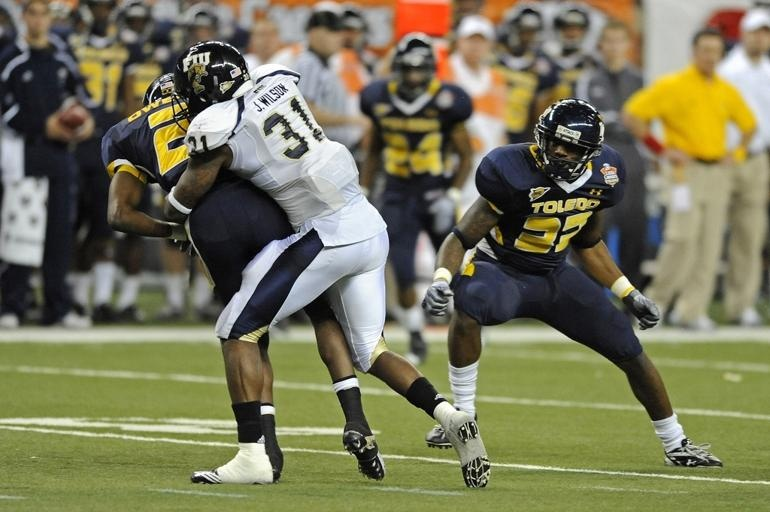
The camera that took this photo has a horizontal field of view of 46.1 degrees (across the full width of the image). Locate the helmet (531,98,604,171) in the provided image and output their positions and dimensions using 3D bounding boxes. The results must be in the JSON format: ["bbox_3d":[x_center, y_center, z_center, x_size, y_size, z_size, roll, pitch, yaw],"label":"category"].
[{"bbox_3d":[0.944,-0.604,4.668,0.340,0.429,0.232,2,2,7],"label":"helmet"}]

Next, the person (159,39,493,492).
[{"bbox_3d":[-0.465,0.030,4.477,1.204,2.099,0.378,1,2,-12],"label":"person"}]

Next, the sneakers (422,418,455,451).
[{"bbox_3d":[0.288,1.004,5.072,0.107,0.161,0.306,2,0,-2],"label":"sneakers"}]

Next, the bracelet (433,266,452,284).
[{"bbox_3d":[0.297,0.100,4.703,0.080,0.083,0.085,10,22,10],"label":"bracelet"}]

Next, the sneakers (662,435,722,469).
[{"bbox_3d":[1.629,1.049,4.843,0.314,0.139,0.128,1,2,10],"label":"sneakers"}]

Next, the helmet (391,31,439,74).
[{"bbox_3d":[0.250,-1.734,8.165,0.364,0.622,0.221,-8,51,0],"label":"helmet"}]

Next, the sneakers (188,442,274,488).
[{"bbox_3d":[-0.677,1.019,4.435,0.489,0.260,0.160,2,-9,4],"label":"sneakers"}]

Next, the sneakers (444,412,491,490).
[{"bbox_3d":[0.390,0.907,4.264,0.155,0.401,0.190,-21,-4,-16],"label":"sneakers"}]
